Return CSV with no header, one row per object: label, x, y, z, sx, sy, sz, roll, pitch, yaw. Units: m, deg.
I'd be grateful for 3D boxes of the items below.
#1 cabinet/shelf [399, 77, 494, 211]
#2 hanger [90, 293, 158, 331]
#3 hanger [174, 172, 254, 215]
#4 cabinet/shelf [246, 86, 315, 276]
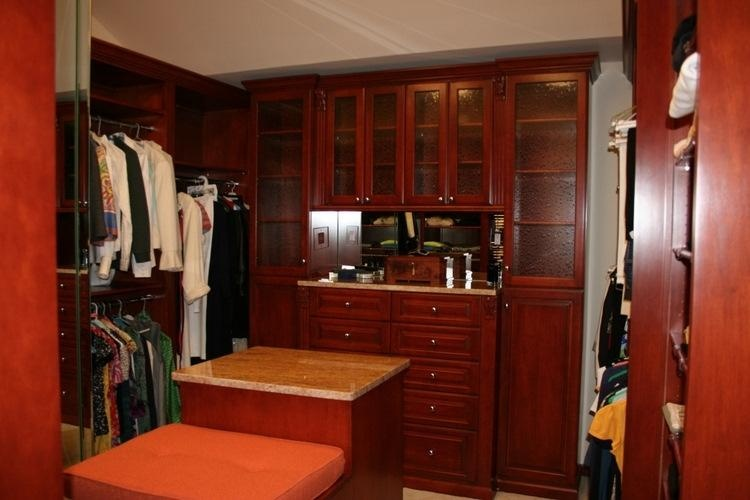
cabinet/shelf,0.508,-0.750,4.034,0.611,0.849,0.175,1,8,10
hanger,-1.676,0.428,3.925,0.413,0.233,0.532,-3,9,-19
hanger,-1.282,-0.473,4.637,0.570,0.225,0.363,-4,10,-33
cabinet/shelf,-0.720,-0.515,4.441,0.502,1.386,0.147,3,9,23
